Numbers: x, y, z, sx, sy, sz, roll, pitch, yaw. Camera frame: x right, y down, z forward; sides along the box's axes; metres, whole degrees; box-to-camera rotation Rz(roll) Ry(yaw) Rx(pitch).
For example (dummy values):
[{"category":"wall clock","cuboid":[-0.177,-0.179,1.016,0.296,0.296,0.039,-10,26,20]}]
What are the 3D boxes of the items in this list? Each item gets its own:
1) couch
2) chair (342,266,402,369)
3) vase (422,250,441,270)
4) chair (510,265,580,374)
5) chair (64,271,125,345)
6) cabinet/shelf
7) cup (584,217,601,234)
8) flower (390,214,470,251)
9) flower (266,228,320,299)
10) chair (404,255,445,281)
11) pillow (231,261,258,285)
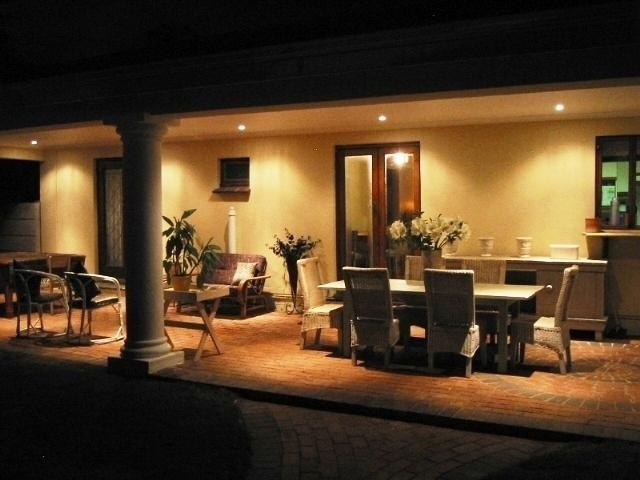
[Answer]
[{"category":"couch","cuboid":[-1.414,0.742,8.757,1.505,1.007,1.023,0,0,31]},{"category":"chair","cuboid":[0.550,0.816,5.570,0.613,1.122,0.771,1,5,19]},{"category":"vase","cuboid":[1.236,0.209,5.669,0.216,0.210,0.199,0,0,17]},{"category":"chair","cuboid":[2.341,0.807,5.370,0.604,1.135,0.743,1,5,25]},{"category":"chair","cuboid":[-3.238,1.002,7.301,0.910,0.954,0.754,8,10,44]},{"category":"cabinet/shelf","cuboid":[2.920,0.717,6.233,1.200,0.865,0.460,1,0,27]},{"category":"cup","cuboid":[3.748,-0.208,7.054,0.175,0.201,0.222,1,5,24]},{"category":"flower","cuboid":[1.122,-0.082,5.732,0.482,0.269,0.432,5,-8,16]},{"category":"flower","cuboid":[-0.451,0.429,9.101,1.349,1.491,1.048,-1,-1,1]},{"category":"chair","cuboid":[1.249,0.346,6.593,0.320,0.381,0.565,1,2,19]},{"category":"pillow","cuboid":[-1.281,0.532,8.631,0.424,0.370,0.127,-2,-29,33]}]
